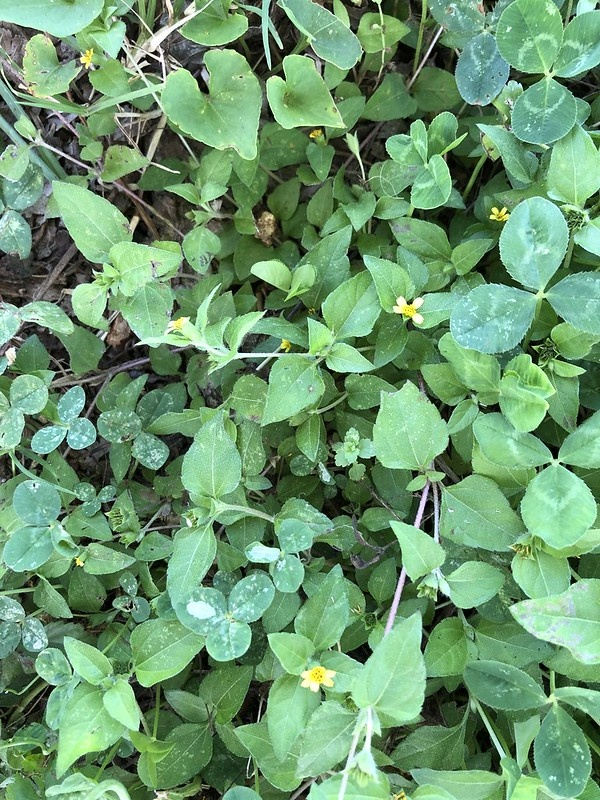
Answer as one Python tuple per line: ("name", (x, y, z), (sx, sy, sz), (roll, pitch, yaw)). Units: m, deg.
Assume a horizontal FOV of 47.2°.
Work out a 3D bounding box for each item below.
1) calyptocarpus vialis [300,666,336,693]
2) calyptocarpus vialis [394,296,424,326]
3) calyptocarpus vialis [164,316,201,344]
("calyptocarpus vialis", (0.051, 0.769, 1.889), (0.091, 0.053, 0.065), (17, 72, 17))
("calyptocarpus vialis", (0.333, -0.270, 2.088), (0.087, 0.075, 0.091), (0, 68, 11))
("calyptocarpus vialis", (-0.349, -0.206, 2.032), (0.107, 0.051, 0.105), (-52, 28, 27))
